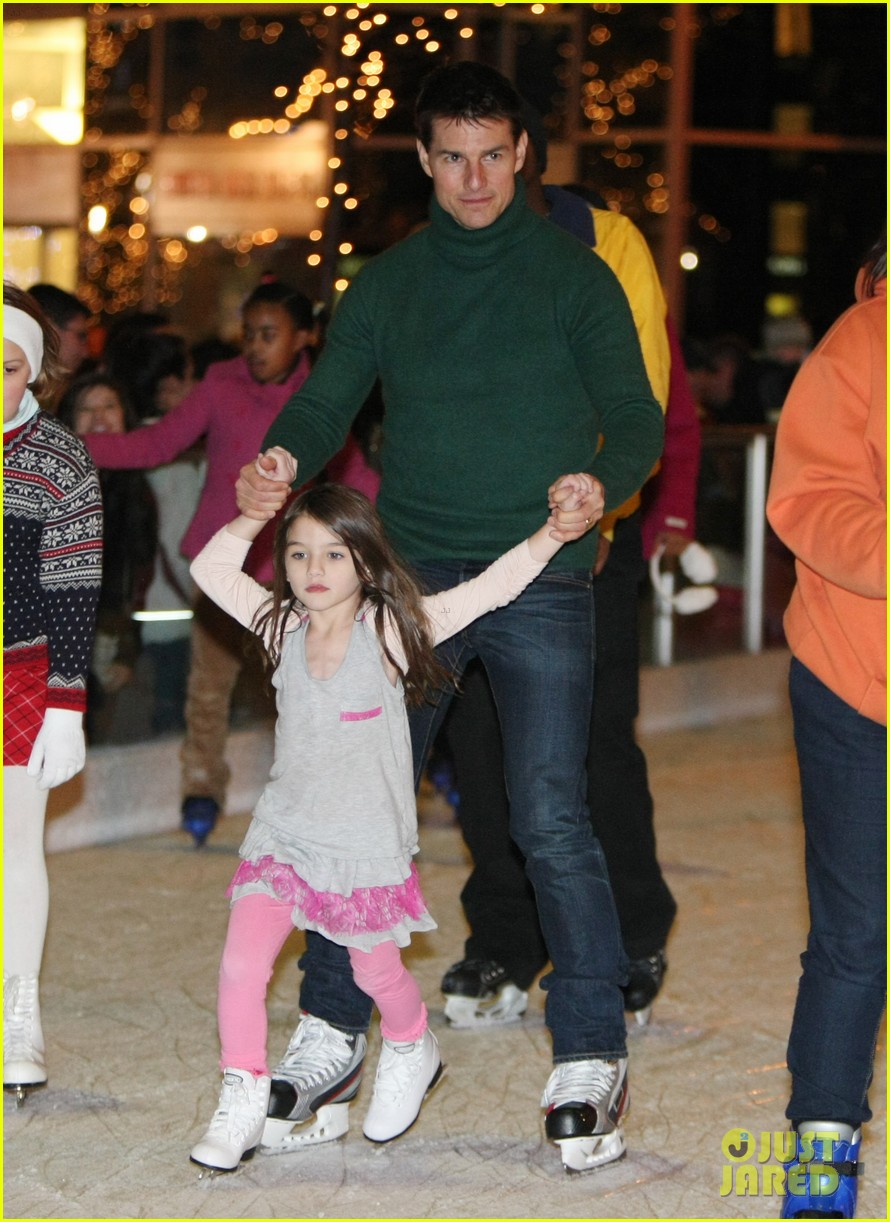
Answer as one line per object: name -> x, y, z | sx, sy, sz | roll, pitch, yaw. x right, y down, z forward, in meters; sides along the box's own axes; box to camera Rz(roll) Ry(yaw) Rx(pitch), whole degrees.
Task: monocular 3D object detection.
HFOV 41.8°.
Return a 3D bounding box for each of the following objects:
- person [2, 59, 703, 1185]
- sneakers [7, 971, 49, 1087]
person -> 0.017, 0.021, 2.174 | 0.730, 2.013, 0.502 | 2, 2, 11
sneakers -> -0.838, 0.862, 2.405 | 0.084, 0.218, 0.090 | -2, -22, -7
